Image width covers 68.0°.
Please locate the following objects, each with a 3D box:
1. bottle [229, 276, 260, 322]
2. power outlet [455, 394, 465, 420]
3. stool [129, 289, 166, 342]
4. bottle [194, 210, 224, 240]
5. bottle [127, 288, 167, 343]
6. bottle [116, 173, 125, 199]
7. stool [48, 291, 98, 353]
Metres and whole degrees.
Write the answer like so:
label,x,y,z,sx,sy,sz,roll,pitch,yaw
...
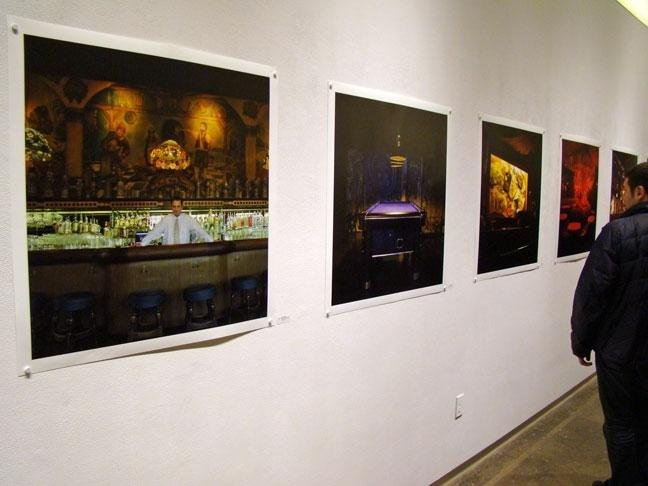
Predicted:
label,x,y,z,sx,sy,sz,roll,pitch,yaw
bottle,-0.338,0.245,2.143,0.112,0.182,0.119,0,1,0
power outlet,0.844,1.029,2.997,0.098,0.153,0.005,-7,7,-39
stool,-0.721,0.332,1.931,0.139,0.230,0.147,-9,-15,0
bottle,-0.465,-0.078,1.968,0.090,0.132,0.041,-12,13,-35
bottle,-0.730,0.323,1.951,0.138,0.239,0.147,1,-2,0
bottle,-0.777,-0.215,1.806,0.031,0.093,0.009,-3,6,-15
stool,-0.994,0.343,1.860,0.181,0.293,0.187,1,4,-32
